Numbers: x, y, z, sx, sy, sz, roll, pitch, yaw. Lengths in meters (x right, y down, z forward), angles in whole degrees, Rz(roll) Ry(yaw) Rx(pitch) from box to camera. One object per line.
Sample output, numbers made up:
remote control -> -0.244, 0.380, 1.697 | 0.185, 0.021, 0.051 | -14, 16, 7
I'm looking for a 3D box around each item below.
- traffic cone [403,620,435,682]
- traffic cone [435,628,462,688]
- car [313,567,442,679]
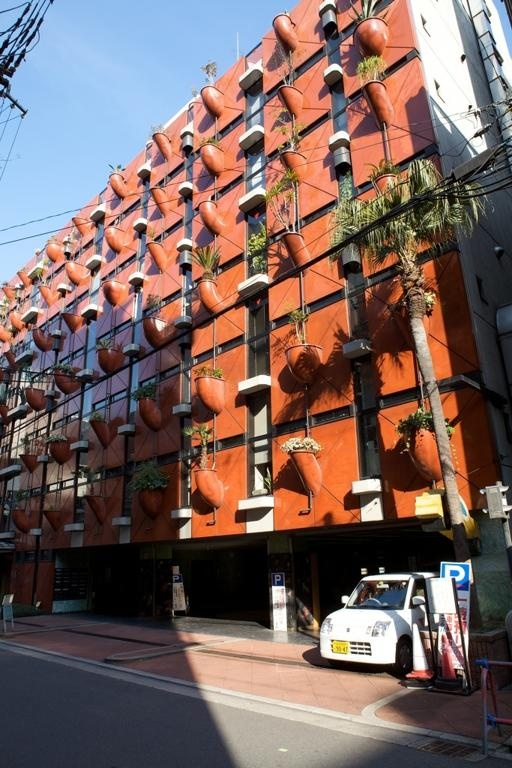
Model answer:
traffic cone -> 2.903, 4.763, 9.677 | 0.550, 0.823, 0.601 | -13, -22, 25
traffic cone -> 2.958, 4.239, 8.389 | 0.337, 0.856, 0.342 | -12, -24, 21
car -> 2.118, 4.425, 10.367 | 1.734, 1.502, 2.843 | -22, -42, 33
